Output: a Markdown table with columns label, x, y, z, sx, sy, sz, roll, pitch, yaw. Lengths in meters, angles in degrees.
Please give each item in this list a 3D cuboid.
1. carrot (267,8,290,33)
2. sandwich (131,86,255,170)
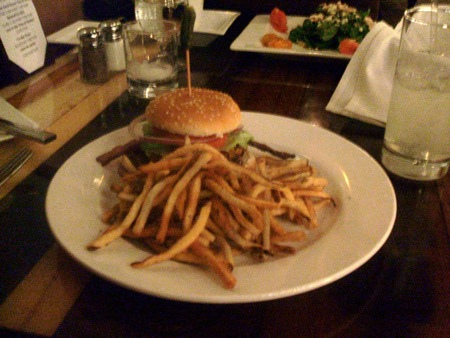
| label | x | y | z | sx | sy | sz | roll | pitch | yaw |
| --- | --- | --- | --- | --- | --- | --- | --- | --- | --- |
| carrot | 0.411 | -1.114 | 2.724 | 0.116 | 0.032 | 0.239 | -32 | 92 | 6 |
| sandwich | -0.153 | -0.221 | 1.754 | 0.560 | 0.310 | 0.563 | 7 | 25 | -1 |
